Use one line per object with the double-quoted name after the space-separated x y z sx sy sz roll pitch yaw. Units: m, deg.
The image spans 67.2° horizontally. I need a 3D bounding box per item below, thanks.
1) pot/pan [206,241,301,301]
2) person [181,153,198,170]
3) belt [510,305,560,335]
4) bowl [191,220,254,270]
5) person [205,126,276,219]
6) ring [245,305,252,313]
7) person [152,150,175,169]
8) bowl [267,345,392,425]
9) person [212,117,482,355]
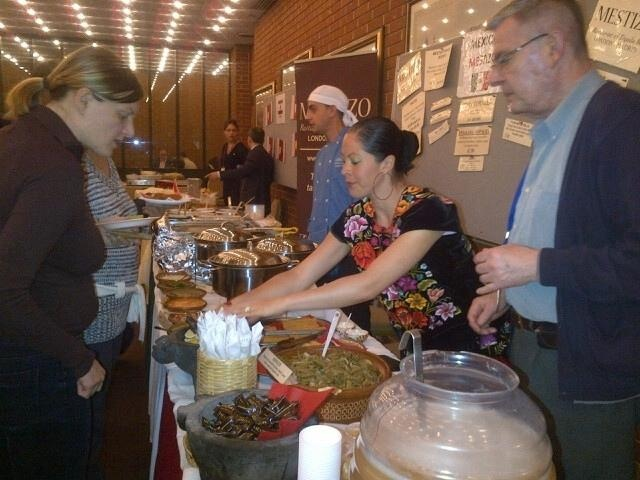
-0.301 0.133 2.128 0.490 0.245 0.326 0 8 -26 "pot/pan"
-3.177 -1.913 11.650 0.410 0.404 1.257 -2 8 -14 "person"
0.662 0.246 1.473 0.098 0.037 0.100 20 -8 -7 "belt"
-0.542 0.032 2.475 0.244 0.189 0.249 5 6 0 "bowl"
-1.066 -0.815 7.083 0.719 1.638 0.663 8 28 15 "person"
-0.227 0.221 1.525 0.018 0.008 0.025 0 5 4 "ring"
-3.808 -1.972 11.697 0.432 0.505 1.269 -3 9 -18 "person"
0.031 0.388 1.383 0.290 0.126 0.382 -4 9 -22 "bowl"
0.135 -0.030 1.852 0.861 0.905 0.501 -3 9 -17 "person"
